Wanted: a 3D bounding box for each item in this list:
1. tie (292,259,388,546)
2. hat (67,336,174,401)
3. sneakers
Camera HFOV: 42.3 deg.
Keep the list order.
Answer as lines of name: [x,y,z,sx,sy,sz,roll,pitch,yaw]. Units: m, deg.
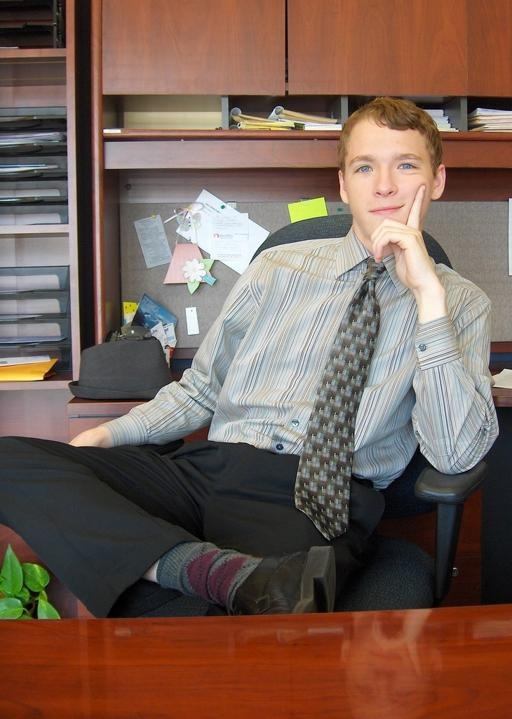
tie: [0.151,0.070,1.086,0.106,0.450,0.052,21,-9,7]
hat: [-0.319,0.026,1.561,0.219,0.094,0.142,1,2,0]
sneakers: [0.041,0.257,0.809,0.071,0.049,0.159,-2,-6,11]
